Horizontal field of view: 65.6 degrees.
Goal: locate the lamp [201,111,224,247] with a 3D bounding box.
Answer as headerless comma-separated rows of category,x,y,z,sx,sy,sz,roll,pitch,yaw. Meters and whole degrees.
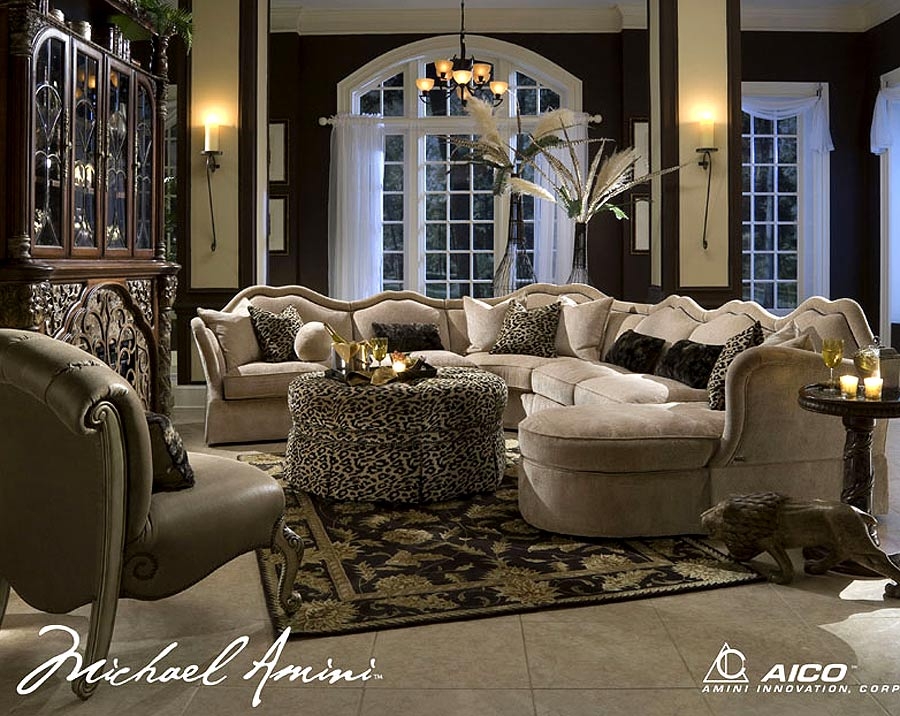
lamp,-2.026,-1.507,5.948,0.159,1.176,0.179,-4,8,-25

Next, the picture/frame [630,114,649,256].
picture/frame,2.144,-1.932,7.739,0.290,1.490,0.058,-5,10,-13

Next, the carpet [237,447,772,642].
carpet,0.146,0.803,2.993,1.914,0.026,1.432,-1,7,-3

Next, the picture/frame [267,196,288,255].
picture/frame,-1.966,-1.538,7.970,0.050,0.676,0.341,-10,15,-38

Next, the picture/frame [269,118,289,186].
picture/frame,-1.952,-2.342,7.884,0.392,0.740,0.059,16,20,35

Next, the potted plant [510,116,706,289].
potted plant,1.426,-1.751,6.824,1.904,1.629,1.643,1,1,16

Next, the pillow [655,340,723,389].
pillow,1.454,0.024,4.217,0.116,0.257,0.389,29,-3,-13

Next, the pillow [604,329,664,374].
pillow,1.295,-0.042,4.813,0.116,0.277,0.394,28,-4,-20

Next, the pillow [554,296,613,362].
pillow,1.055,-0.231,5.667,0.239,0.542,0.658,-2,5,-19

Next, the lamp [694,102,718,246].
lamp,2.157,-1.502,5.850,0.176,1.156,0.125,1,7,8
